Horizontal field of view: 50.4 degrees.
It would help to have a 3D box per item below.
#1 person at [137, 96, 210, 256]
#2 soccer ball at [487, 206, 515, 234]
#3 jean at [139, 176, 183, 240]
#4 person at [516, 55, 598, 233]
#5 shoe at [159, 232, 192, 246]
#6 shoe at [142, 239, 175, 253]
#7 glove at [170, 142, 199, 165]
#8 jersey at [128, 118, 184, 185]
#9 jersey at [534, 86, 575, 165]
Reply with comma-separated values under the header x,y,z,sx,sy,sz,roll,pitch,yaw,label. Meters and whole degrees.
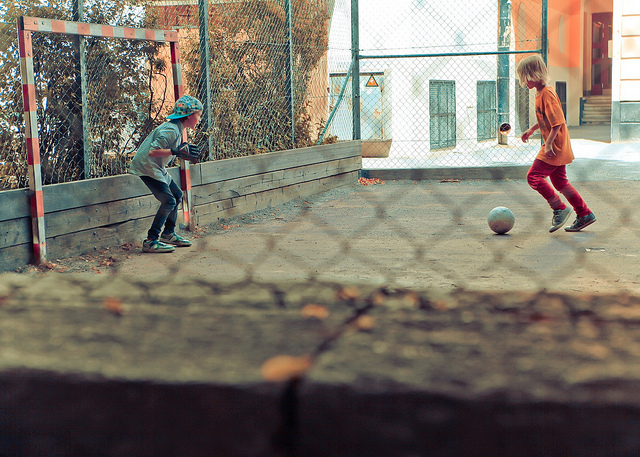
x,y,z,sx,sy,sz,roll,pitch,yaw,label
-1.682,-0.663,7.722,0.732,1.650,1.302,-4,13,-11,person
2.108,-0.072,7.942,0.349,0.294,0.301,14,-5,-11,soccer ball
-1.730,-0.249,7.469,0.422,0.684,0.277,-5,13,-14,jean
2.752,-0.985,7.947,0.900,2.036,1.064,3,13,19,person
-1.636,0.114,7.684,0.397,0.157,0.136,5,-1,-3,shoe
-1.770,0.189,7.356,0.373,0.151,0.131,1,-1,-1,shoe
-1.407,-0.803,7.260,0.222,0.090,0.211,17,6,26,glove
-1.851,-0.875,7.529,0.491,0.731,0.657,27,7,-2,jersey
2.625,-1.149,7.595,0.463,0.886,0.370,-2,12,-4,jersey
